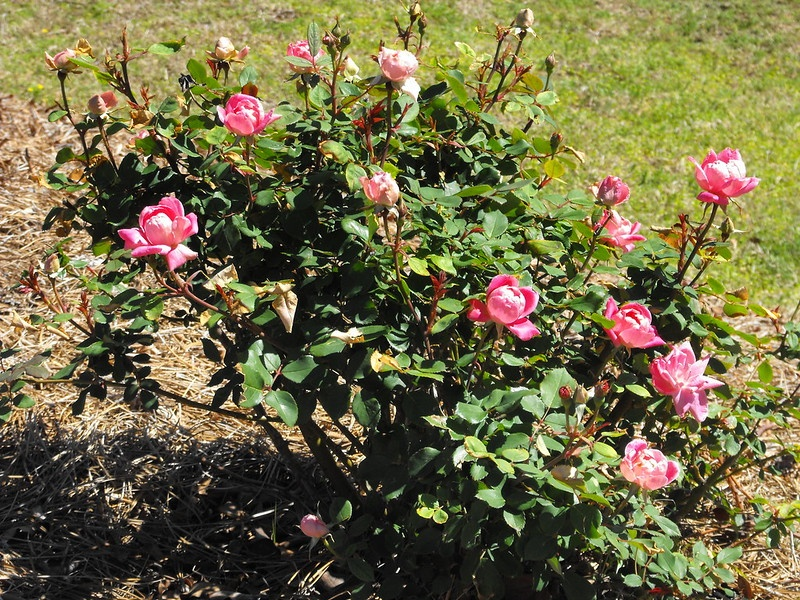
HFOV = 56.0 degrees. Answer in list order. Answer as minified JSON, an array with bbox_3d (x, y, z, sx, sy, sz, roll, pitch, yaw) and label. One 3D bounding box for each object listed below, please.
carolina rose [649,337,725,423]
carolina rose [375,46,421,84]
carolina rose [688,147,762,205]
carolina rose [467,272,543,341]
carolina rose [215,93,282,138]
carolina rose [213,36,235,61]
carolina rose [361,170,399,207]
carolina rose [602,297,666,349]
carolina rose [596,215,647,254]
[{"bbox_3d":[0.789,0.214,2.111,0.223,0.192,0.102,56,11,2],"label":"carolina rose"},{"bbox_3d":[-0.005,-0.601,1.918,0.082,0.101,0.061,65,33,-13],"label":"carolina rose"},{"bbox_3d":[0.919,-0.349,2.119,0.156,0.124,0.210,-12,12,9],"label":"carolina rose"},{"bbox_3d":[0.265,0.009,1.869,0.208,0.110,0.138,-1,76,0],"label":"carolina rose"},{"bbox_3d":[-0.400,-0.490,1.965,0.162,0.088,0.080,5,-1,13],"label":"carolina rose"},{"bbox_3d":[-0.516,-0.751,2.214,0.056,0.070,0.135,2,45,-15],"label":"carolina rose"},{"bbox_3d":[-0.040,-0.271,1.876,0.066,0.105,0.086,-64,131,-83],"label":"carolina rose"},{"bbox_3d":[0.623,0.078,2.021,0.154,0.065,0.129,11,24,29],"label":"carolina rose"},{"bbox_3d":[0.659,-0.207,2.248,0.139,0.065,0.133,38,26,17],"label":"carolina rose"}]
